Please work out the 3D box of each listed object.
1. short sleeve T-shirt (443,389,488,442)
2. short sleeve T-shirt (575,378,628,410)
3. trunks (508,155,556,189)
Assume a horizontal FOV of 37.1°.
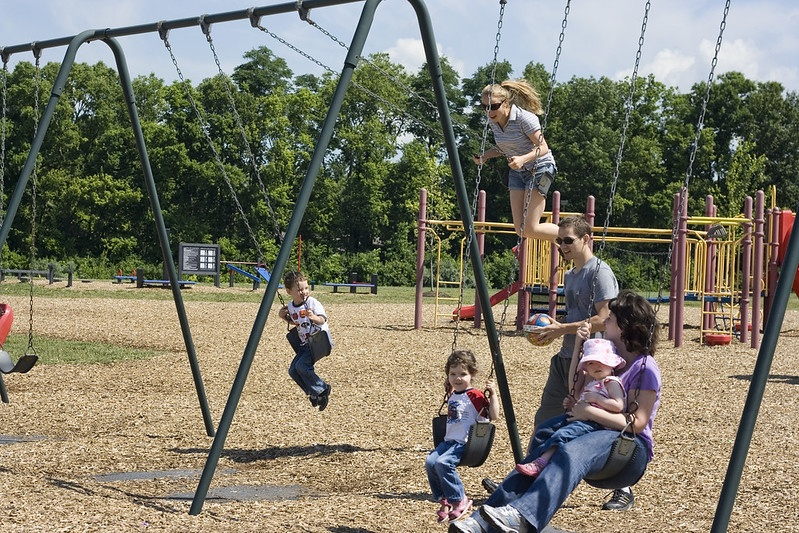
[{"bbox_3d":[0.914,2.105,16.559,0.404,0.638,0.640,18,-13,-36],"label":"short sleeve T-shirt"},{"bbox_3d":[2.729,1.765,16.129,0.417,0.511,0.697,18,-19,-29],"label":"short sleeve T-shirt"},{"bbox_3d":[1.997,-1.378,17.842,0.447,0.411,0.612,-6,-11,-41],"label":"trunks"}]
